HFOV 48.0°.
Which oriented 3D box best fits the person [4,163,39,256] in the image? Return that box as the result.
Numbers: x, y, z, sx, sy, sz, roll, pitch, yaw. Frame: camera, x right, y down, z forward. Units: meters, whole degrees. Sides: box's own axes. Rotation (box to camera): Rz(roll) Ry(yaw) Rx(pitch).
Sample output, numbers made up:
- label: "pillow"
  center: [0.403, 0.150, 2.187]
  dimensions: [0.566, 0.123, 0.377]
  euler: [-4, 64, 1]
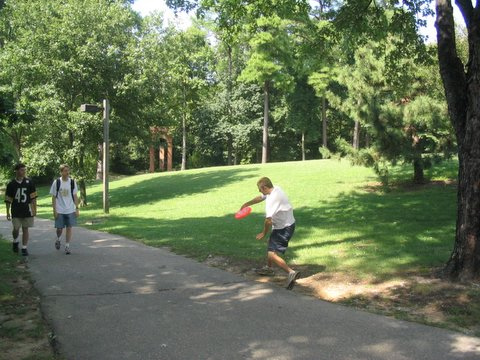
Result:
- label: "person"
  center: [-5.888, 0.788, 14.559]
  dimensions: [0.799, 2.392, 0.969]
  euler: [-7, 13, -31]

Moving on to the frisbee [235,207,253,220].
- label: "frisbee"
  center: [0.122, 0.832, 12.563]
  dimensions: [0.434, 0.102, 0.283]
  euler: [-28, 22, -20]

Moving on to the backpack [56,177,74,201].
- label: "backpack"
  center: [-4.854, 0.213, 14.903]
  dimensions: [0.532, 0.674, 0.478]
  euler: [2, -4, -19]
